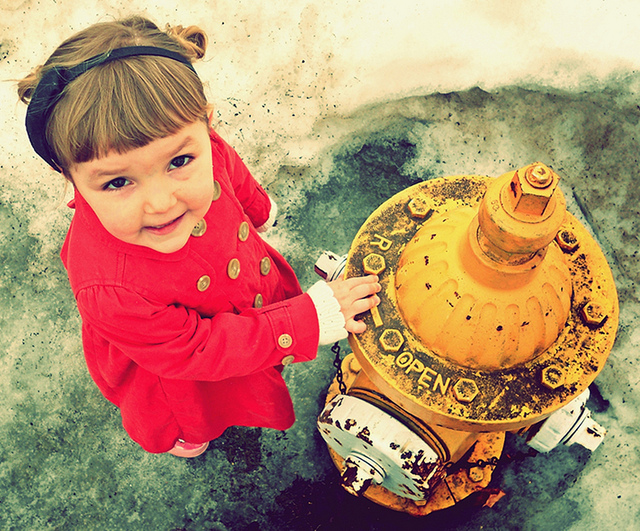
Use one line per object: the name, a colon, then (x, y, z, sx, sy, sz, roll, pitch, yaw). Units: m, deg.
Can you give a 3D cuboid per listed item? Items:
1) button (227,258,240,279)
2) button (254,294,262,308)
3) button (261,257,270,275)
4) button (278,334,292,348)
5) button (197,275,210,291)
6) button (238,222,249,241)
button: (-0.499, 0.021, 4.703, 0.015, 0.095, 0.097, 1, 77, 31)
button: (-0.370, 0.219, 4.927, 0.014, 0.064, 0.066, 6, 95, 15)
button: (-0.332, 0.017, 4.989, 0.020, 0.077, 0.080, 3, 91, 17)
button: (-0.197, 0.430, 4.650, 0.073, 0.045, 0.061, -42, 66, -10)
button: (-0.651, 0.102, 4.582, 0.016, 0.072, 0.075, 16, 114, 33)
button: (-0.446, -0.188, 4.782, 0.027, 0.085, 0.088, 4, 83, 26)
